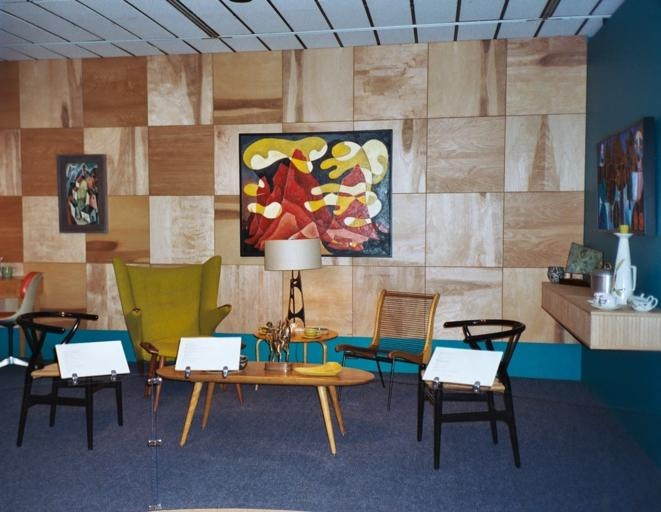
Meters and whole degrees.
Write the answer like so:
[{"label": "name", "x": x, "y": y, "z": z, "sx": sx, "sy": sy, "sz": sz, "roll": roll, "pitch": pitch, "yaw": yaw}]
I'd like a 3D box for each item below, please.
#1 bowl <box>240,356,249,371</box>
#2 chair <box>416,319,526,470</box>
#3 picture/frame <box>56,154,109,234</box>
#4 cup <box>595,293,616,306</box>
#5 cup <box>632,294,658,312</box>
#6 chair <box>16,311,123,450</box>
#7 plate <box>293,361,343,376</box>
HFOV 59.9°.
[{"label": "bowl", "x": -0.757, "y": 0.928, "z": 4.960, "sx": 0.085, "sy": 0.073, "sz": 0.088, "roll": 2, "pitch": 4, "yaw": 0}, {"label": "chair", "x": 1.252, "y": 1.161, "z": 5.233, "sx": 1.061, "sy": 1.522, "sz": 1.274, "roll": 1, "pitch": -2, "yaw": -4}, {"label": "picture/frame", "x": -3.173, "y": -0.783, "z": 7.342, "sx": 0.654, "sy": 0.975, "sz": 0.113, "roll": 1, "pitch": 8, "yaw": 5}, {"label": "cup", "x": 2.145, "y": 0.356, "z": 4.479, "sx": 0.100, "sy": 0.064, "sz": 0.128, "roll": 2, "pitch": 6, "yaw": 0}, {"label": "cup", "x": 2.429, "y": 0.373, "z": 4.424, "sx": 0.104, "sy": 0.098, "sz": 0.142, "roll": -2, "pitch": 8, "yaw": -14}, {"label": "chair", "x": -2.475, "y": 1.219, "z": 5.417, "sx": 0.866, "sy": 1.256, "sz": 1.066, "roll": 0, "pitch": 0, "yaw": 8}, {"label": "plate", "x": -0.107, "y": 0.953, "z": 4.924, "sx": 0.409, "sy": 0.098, "sz": 0.342, "roll": 0, "pitch": 8, "yaw": -3}]
